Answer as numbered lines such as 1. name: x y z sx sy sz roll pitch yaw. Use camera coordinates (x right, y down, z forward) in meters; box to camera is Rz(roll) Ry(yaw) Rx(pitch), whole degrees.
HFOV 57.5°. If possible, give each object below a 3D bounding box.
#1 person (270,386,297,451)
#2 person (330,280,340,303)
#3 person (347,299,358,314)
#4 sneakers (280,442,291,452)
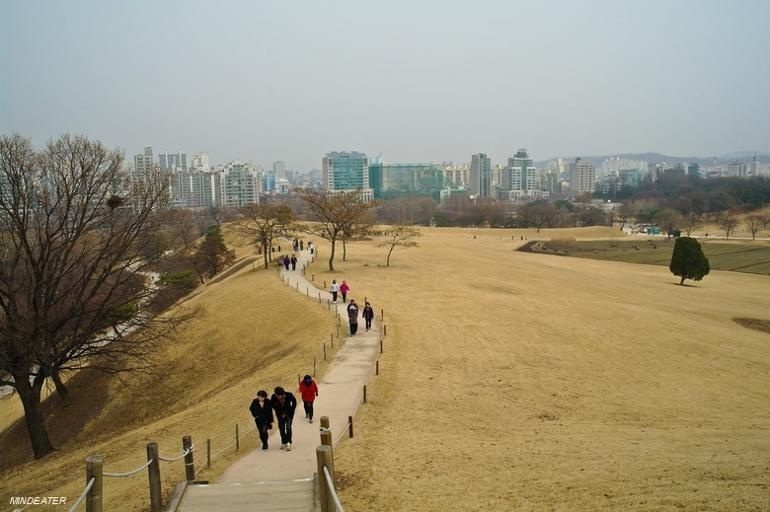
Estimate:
1. person: -4.721 7.482 32.559 1.001 2.842 0.960 -1 11 -10
2. person: -4.075 2.816 56.718 0.561 1.581 1.987 0 11 -5
3. person: -2.159 3.349 46.964 0.505 0.858 1.202 2 11 5
4. sneakers: -4.604 8.839 32.500 0.220 0.250 0.562 2 6 0
